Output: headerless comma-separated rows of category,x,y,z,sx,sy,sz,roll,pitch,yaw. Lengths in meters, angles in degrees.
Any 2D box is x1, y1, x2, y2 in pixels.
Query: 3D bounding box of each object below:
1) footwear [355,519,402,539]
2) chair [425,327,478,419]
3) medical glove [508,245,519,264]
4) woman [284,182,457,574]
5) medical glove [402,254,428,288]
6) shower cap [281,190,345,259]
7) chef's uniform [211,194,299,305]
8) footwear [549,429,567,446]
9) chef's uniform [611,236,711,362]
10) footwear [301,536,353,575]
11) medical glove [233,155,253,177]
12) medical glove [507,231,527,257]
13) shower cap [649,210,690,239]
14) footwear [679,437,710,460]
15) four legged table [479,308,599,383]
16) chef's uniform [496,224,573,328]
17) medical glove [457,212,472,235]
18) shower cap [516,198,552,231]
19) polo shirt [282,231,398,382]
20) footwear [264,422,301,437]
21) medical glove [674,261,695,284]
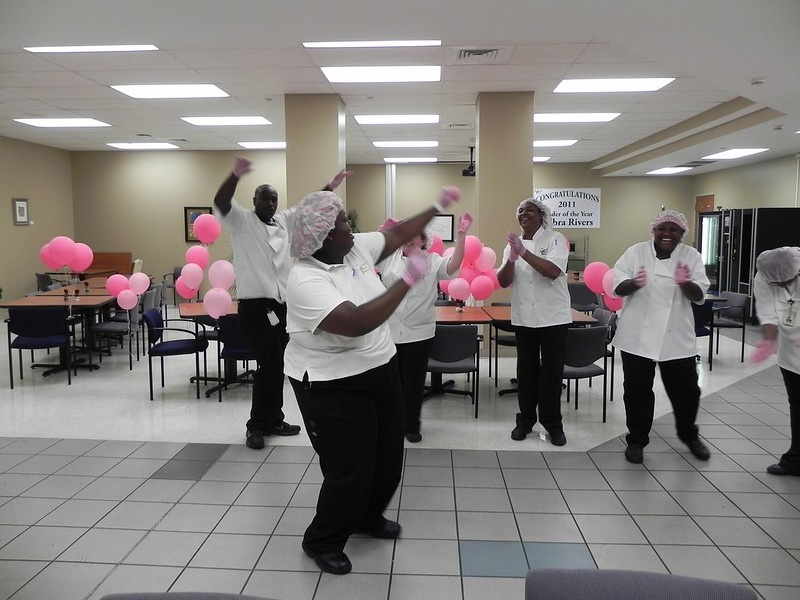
footwear,-0.128,1.394,3.290,0.294,0.135,0.113,-1,3,1
chair,0.505,0.626,5.234,0.564,0.880,0.610,1,1,11
medical glove,0.957,-0.381,4.480,0.044,0.129,0.094,-23,26,12
woman,-0.141,0.432,2.996,0.812,2.092,0.953,10,17,39
medical glove,0.070,-0.140,2.466,0.092,0.169,0.060,20,3,-2
shower cap,-0.412,-0.344,2.707,0.113,0.311,0.289,31,13,-40
chef's uniform,-1.129,-0.408,4.438,0.266,0.878,1.159,7,18,25
footwear,1.335,1.166,4.515,0.158,0.115,0.160,4,10,24
chef's uniform,2.071,-0.010,4.255,0.624,0.889,0.468,5,9,27
footwear,-0.426,1.428,3.036,0.301,0.138,0.115,6,8,36
medical glove,-1.081,-0.894,3.636,0.128,0.161,0.160,1,-7,-4
medical glove,0.943,-0.443,4.275,0.153,0.186,0.096,0,9,3
shower cap,2.178,-0.620,4.267,0.234,0.179,0.439,6,11,35
footwear,2.404,1.201,4.295,0.091,0.116,0.283,-6,1,-3
four legged table,1.440,0.462,5.834,0.976,0.889,1.158,0,11,2
chef's uniform,1.207,-0.198,4.810,0.808,1.140,0.697,-1,-1,23
medical glove,0.515,-0.617,4.193,0.119,0.167,0.049,12,-9,33
shower cap,1.228,-0.762,4.674,0.233,0.306,0.117,-5,1,-7
polo shirt,-0.364,0.014,2.959,0.569,0.691,0.927,1,20,20
footwear,-1.029,1.144,4.638,0.299,0.127,0.114,-1,3,-11
medical glove,2.114,-0.227,3.949,0.125,0.169,0.063,8,-17,-3
